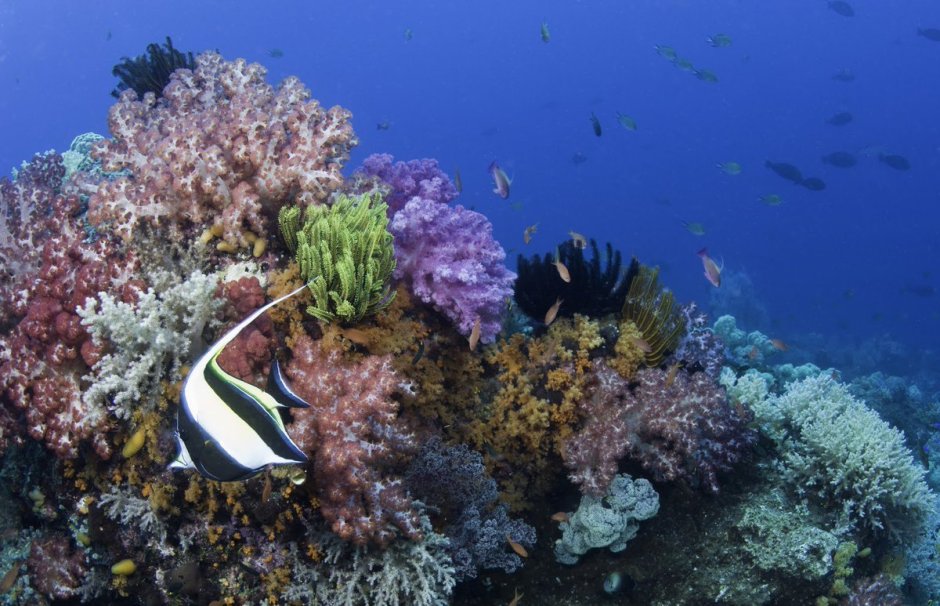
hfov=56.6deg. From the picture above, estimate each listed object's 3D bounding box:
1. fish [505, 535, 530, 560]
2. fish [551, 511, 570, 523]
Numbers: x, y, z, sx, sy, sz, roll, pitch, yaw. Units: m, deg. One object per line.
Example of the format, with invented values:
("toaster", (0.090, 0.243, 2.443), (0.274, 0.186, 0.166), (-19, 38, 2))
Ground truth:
("fish", (0.651, 3.475, 12.411), (0.372, 0.162, 0.097), (39, 55, 23))
("fish", (1.312, 3.106, 12.650), (0.143, 0.192, 0.066), (-17, 82, -20))
